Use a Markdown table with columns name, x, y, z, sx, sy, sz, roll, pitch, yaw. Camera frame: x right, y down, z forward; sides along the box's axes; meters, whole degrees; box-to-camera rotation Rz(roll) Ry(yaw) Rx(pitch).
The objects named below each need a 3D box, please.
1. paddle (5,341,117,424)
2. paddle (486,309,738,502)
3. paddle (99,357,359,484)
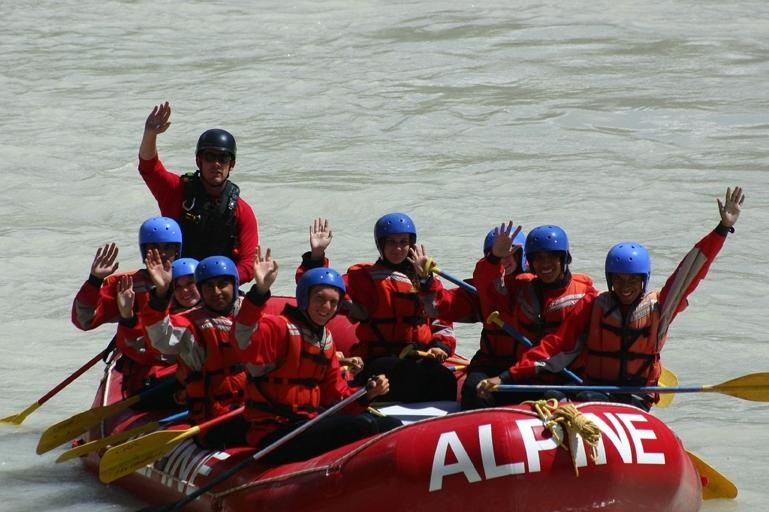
| name | x | y | z | sx | sy | sz | roll | pitch | yaw |
| --- | --- | --- | --- | --- | --- | --- | --- | --- | --- |
| paddle | -5.355 | 2.182 | 26.428 | 2.643 | 0.426 | 0.191 | -31 | 3 | 25 |
| paddle | 3.212 | 2.273 | 23.057 | 0.408 | 3.742 | 0.797 | -49 | -2 | -26 |
| paddle | -2.090 | 2.446 | 22.876 | 4.592 | 0.542 | 0.321 | -20 | 26 | 11 |
